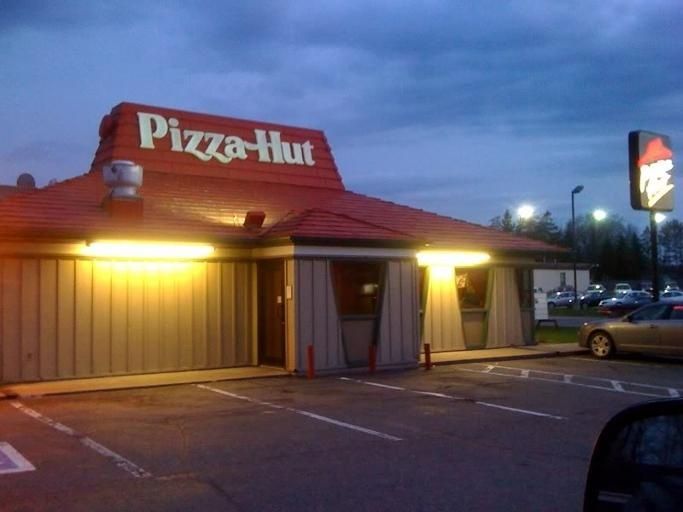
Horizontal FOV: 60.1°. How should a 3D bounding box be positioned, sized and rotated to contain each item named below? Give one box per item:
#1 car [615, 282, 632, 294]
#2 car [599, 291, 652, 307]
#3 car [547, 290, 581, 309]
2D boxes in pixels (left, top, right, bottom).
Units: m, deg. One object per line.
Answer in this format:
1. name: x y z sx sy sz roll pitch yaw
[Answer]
1. car: 32.213 3.747 67.430 0.982 0.979 1.911 -1 -9 2
2. car: 21.078 3.231 43.835 4.549 1.580 2.015 2 -7 -22
3. car: 20.924 4.402 55.517 3.041 1.631 1.967 1 -1 22
